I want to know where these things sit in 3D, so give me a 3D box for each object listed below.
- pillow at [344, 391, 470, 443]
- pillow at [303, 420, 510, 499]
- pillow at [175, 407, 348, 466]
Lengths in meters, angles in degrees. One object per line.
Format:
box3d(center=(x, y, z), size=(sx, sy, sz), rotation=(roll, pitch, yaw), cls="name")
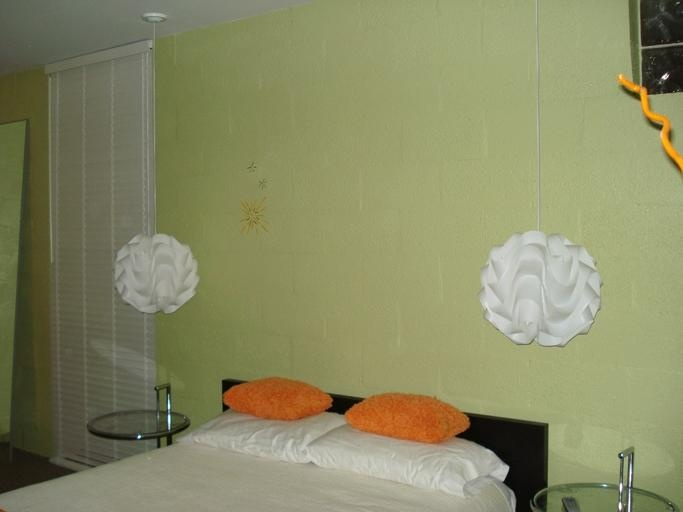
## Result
box3d(center=(0.357, 0.844, 3.774), size=(0.541, 0.187, 0.295), rotation=(-3, -7, 38), cls="pillow")
box3d(center=(0.294, 1.075, 3.614), size=(0.696, 0.182, 0.440), rotation=(-1, -2, 30), cls="pillow")
box3d(center=(-0.495, 1.033, 3.929), size=(0.536, 0.099, 0.400), rotation=(3, 4, 22), cls="pillow")
